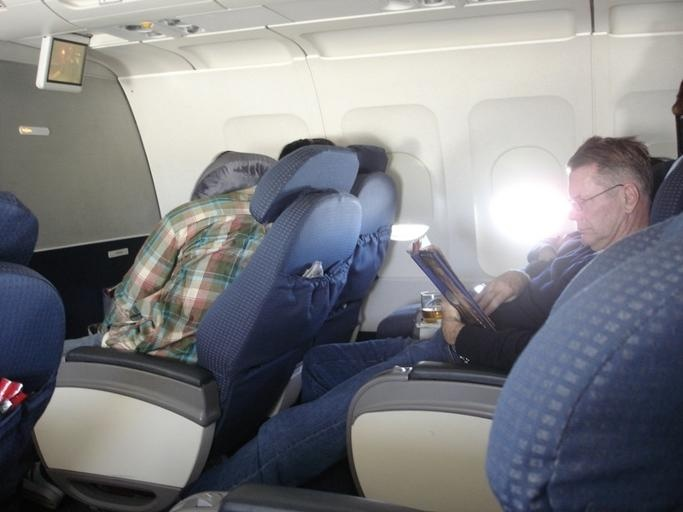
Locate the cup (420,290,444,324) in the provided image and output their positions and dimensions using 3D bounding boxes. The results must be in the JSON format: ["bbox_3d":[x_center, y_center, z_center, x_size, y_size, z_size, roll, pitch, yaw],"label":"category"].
[{"bbox_3d":[0.403,0.230,2.394,0.088,0.123,0.118,1,3,25],"label":"cup"}]

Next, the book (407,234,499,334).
[{"bbox_3d":[0.387,0.100,1.798,0.253,0.275,0.283,11,-1,37],"label":"book"}]

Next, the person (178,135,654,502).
[{"bbox_3d":[0.152,0.263,2.326,2.087,1.374,0.961,-7,-6,32],"label":"person"}]
